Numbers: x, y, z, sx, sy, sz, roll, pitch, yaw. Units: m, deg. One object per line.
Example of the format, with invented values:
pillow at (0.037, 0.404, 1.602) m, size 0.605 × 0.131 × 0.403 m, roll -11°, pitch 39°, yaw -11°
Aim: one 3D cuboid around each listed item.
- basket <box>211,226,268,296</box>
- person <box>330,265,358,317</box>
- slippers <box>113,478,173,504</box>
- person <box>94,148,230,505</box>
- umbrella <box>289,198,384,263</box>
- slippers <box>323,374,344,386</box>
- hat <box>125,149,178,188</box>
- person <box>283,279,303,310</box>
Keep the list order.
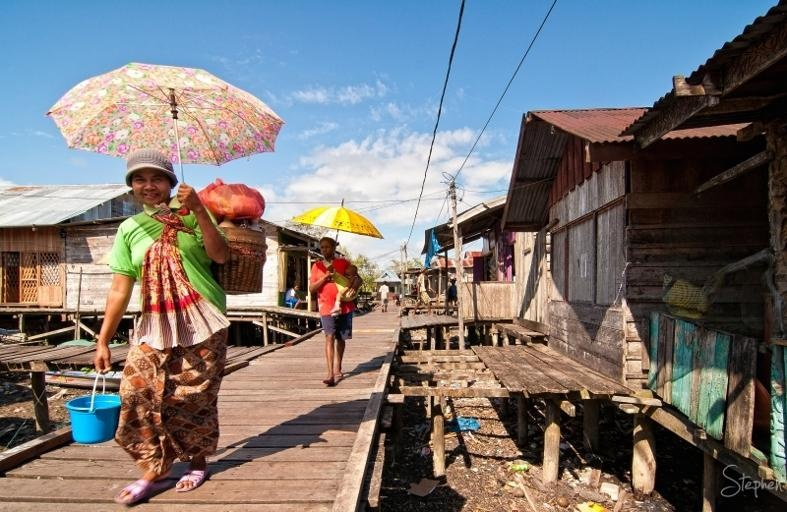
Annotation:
basket at (-1.578, 0.031, 6.477) m, size 0.728 × 0.679 × 0.704 m, roll 0°, pitch -3°, yaw -7°
person at (-0.708, 0.496, 9.147) m, size 0.457 × 0.742 × 0.345 m, roll -2°, pitch 11°, yaw -14°
slippers at (-2.594, 2.435, 6.419) m, size 0.209 × 0.132 × 0.534 m, roll 9°, pitch -4°, yaw 33°
person at (-2.383, 0.712, 6.438) m, size 1.222 × 3.578 × 0.698 m, roll -5°, pitch 12°, yaw -24°
umbrella at (-0.795, -0.508, 9.342) m, size 1.315 × 0.577 × 1.242 m, roll 9°, pitch 1°, yaw -12°
slippers at (-0.905, 1.883, 9.401) m, size 0.115 × 0.147 × 0.368 m, roll -11°, pitch -22°, yaw 21°
hat at (-2.462, -0.894, 6.252) m, size 0.463 × 0.378 × 0.224 m, roll -3°, pitch 11°, yaw -18°
person at (-3.570, 1.346, 21.789) m, size 0.592 × 1.378 × 0.623 m, roll -11°, pitch 32°, yaw -31°
